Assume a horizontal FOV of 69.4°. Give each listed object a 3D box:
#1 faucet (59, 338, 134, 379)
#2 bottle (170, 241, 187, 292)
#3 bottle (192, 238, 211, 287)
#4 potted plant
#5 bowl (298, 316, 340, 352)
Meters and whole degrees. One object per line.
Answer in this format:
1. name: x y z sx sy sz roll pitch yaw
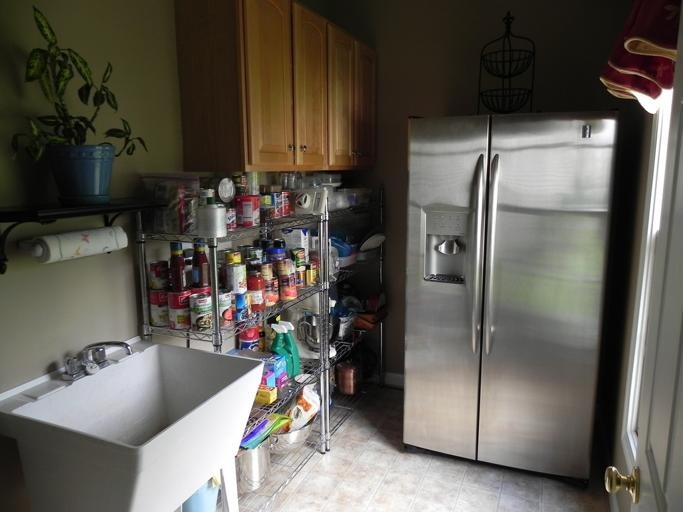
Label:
1. faucet: -0.938 0.346 1.863 0.129 0.094 0.185 5 9 9
2. bottle: -0.715 0.043 2.145 0.072 0.210 0.081 -6 16 -22
3. bottle: -0.630 0.038 2.188 0.074 0.192 0.082 -5 15 -19
4. potted plant: -0.981 -0.559 1.847 0.329 0.683 0.498 3 15 13
5. bowl: -0.121 0.451 2.998 0.210 0.223 0.092 15 15 43
